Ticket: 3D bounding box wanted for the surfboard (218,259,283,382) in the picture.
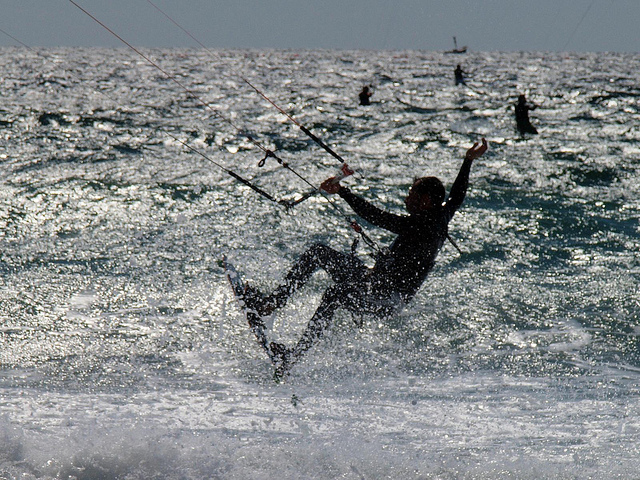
[{"bbox_3d":[-2.012,2.328,44.466,0.465,3.698,0.334,-32,-1,-38],"label":"surfboard"}]
